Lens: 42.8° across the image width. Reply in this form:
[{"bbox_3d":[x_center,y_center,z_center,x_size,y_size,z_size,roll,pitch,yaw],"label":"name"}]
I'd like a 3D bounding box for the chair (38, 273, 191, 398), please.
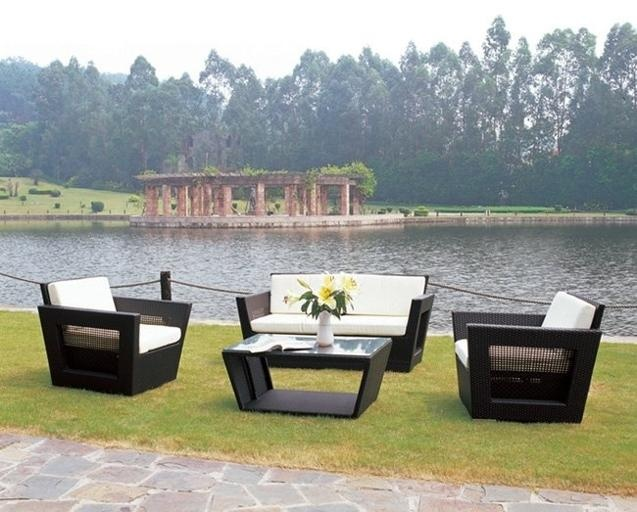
[{"bbox_3d":[-2.097,0.780,8.230,1.213,1.060,0.959,3,5,25],"label":"chair"}]

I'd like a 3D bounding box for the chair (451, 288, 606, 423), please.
[{"bbox_3d":[1.905,0.904,7.514,1.234,1.086,0.920,1,4,7],"label":"chair"}]

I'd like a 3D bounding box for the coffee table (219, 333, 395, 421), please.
[{"bbox_3d":[-0.101,1.104,7.651,1.464,0.631,0.738,1,4,8],"label":"coffee table"}]

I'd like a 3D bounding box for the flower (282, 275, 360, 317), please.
[{"bbox_3d":[0.099,0.360,8.009,0.639,0.286,0.535,-1,25,-14],"label":"flower"}]
